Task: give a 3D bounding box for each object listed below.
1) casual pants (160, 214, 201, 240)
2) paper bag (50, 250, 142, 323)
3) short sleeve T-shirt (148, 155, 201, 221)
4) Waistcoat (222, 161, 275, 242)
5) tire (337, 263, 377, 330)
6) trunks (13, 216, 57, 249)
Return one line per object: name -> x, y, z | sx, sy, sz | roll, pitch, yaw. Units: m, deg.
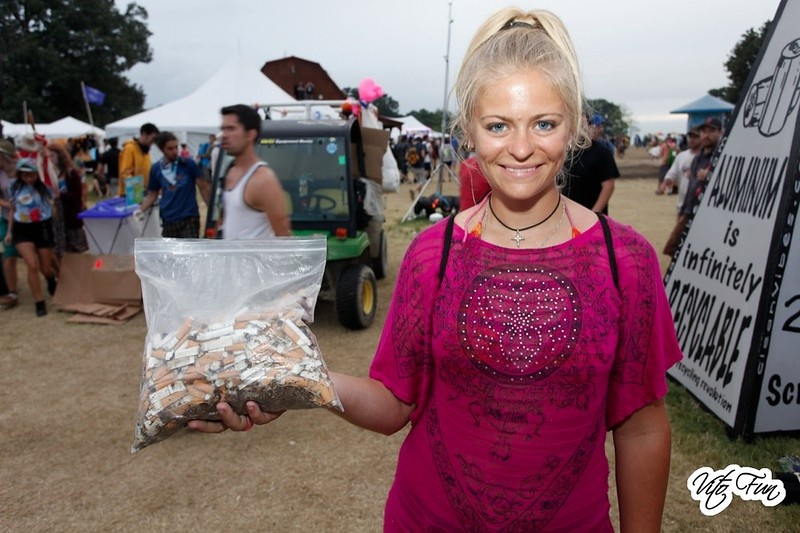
casual pants -> -2.906, -0.491, 8.395 | 0.414, 0.256, 0.159 | -2, 12, -15
paper bag -> -4.335, 0.091, 9.122 | 1.168, 0.475, 0.983 | 1, 15, -34
short sleeve T-shirt -> -3.120, -1.061, 8.800 | 0.711, 0.938, 0.381 | -9, 36, -20
Waistcoat -> -1.435, -0.578, 5.956 | 0.482, 0.704, 0.376 | 16, 18, 39
tire -> -0.515, 0.396, 7.953 | 0.235, 0.809, 0.746 | 0, 11, 19
trunks -> -5.027, -0.413, 8.724 | 0.351, 0.482, 0.605 | 3, 5, 38
